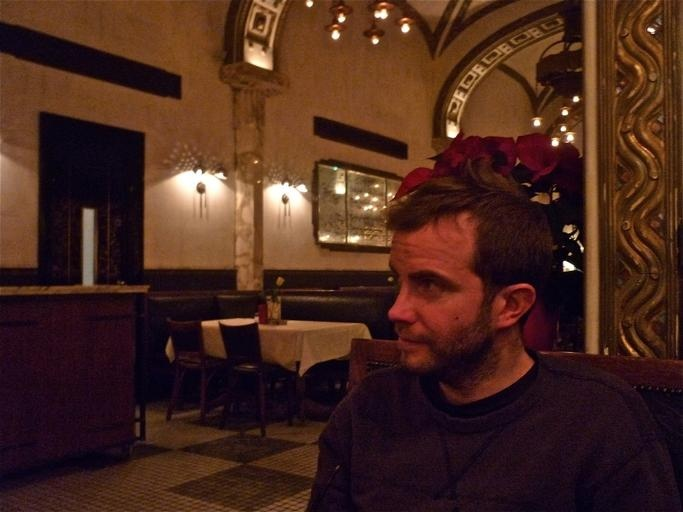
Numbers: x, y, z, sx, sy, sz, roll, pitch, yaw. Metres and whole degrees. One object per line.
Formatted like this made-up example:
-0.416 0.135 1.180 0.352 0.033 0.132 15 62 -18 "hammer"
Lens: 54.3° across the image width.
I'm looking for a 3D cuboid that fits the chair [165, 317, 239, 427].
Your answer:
-1.281 1.048 6.240 0.687 0.872 0.608 1 -3 -30 "chair"
